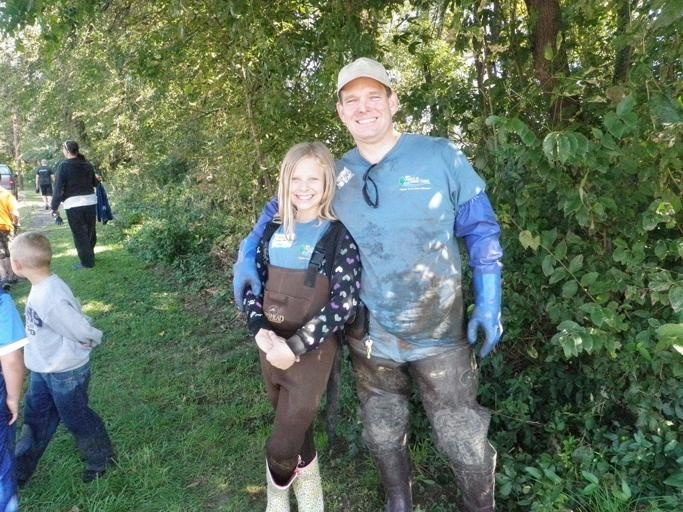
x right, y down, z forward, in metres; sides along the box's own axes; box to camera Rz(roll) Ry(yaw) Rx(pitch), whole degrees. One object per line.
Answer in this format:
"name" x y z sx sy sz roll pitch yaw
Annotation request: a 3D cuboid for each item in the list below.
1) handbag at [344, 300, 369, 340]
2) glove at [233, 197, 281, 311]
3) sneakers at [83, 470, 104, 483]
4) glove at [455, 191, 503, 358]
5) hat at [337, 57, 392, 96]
"handbag" 0.106 0.396 3.496 0.156 0.219 0.211 8 -4 -28
"glove" -0.587 -0.021 3.688 0.194 0.675 0.390 19 -31 0
"sneakers" -1.904 1.667 4.255 0.072 0.059 0.137 1 -17 17
"glove" 0.818 0.104 3.327 0.266 0.972 0.230 0 10 12
"hat" 0.138 -1.099 3.535 0.289 0.206 0.449 -5 -1 0
